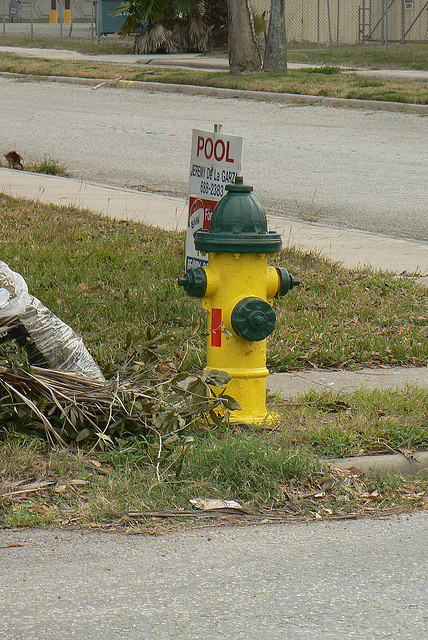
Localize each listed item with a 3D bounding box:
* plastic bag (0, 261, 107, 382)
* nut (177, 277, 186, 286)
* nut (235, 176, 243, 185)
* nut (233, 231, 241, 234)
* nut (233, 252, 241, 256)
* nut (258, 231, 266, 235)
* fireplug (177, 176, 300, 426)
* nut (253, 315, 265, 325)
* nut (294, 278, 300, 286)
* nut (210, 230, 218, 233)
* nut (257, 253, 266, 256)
[{"bbox_3d":[-0.735,0.018,5.464,0.253,0.563,0.615,4,10,36],"label":"plastic bag"},{"bbox_3d":[-0.137,-0.163,5.294,0.031,0.031,0.027,0,2,-8],"label":"nut"},{"bbox_3d":[0.106,-0.605,5.436,0.034,0.042,0.036,-2,7,-20],"label":"nut"},{"bbox_3d":[0.095,-0.366,5.225,0.024,0.011,0.003,-3,8,-13],"label":"nut"},{"bbox_3d":[0.095,-0.277,5.240,0.016,0.017,0.016,-2,8,-24],"label":"nut"},{"bbox_3d":[0.204,-0.368,5.264,0.020,0.014,0.042,6,11,42],"label":"nut"},{"bbox_3d":[0.086,-0.079,5.334,0.433,1.037,0.531,2,8,23],"label":"fireplug"},{"bbox_3d":[0.189,-0.001,5.219,0.037,0.036,0.038,3,-7,33],"label":"nut"},{"bbox_3d":[0.362,-0.167,5.459,0.025,0.028,0.048,4,-10,5],"label":"nut"},{"bbox_3d":[-0.002,-0.375,5.274,0.022,0.009,0.043,-9,12,-42],"label":"nut"},{"bbox_3d":[0.201,-0.279,5.290,0.015,0.016,0.015,-4,8,-37],"label":"nut"}]
